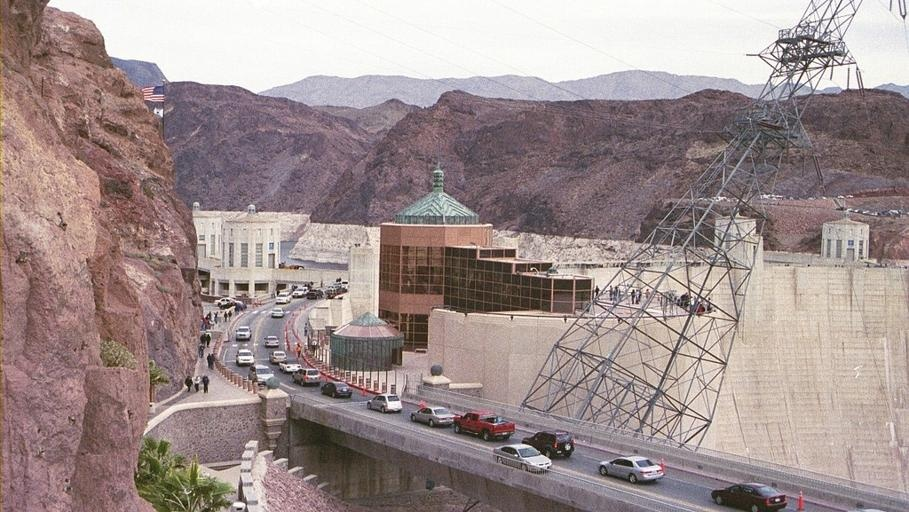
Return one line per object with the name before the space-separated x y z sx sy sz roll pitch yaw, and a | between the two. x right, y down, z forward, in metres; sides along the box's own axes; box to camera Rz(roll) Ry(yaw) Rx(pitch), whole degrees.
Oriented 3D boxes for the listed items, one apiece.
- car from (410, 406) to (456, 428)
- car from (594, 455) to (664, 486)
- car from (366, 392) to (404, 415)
car | -1.771 14.754 117.326 4.107 1.603 1.469 5 3 33
car | 14.908 18.060 107.989 4.856 1.389 2.238 5 5 36
car | -6.578 13.902 120.882 2.820 1.178 1.685 6 4 45
